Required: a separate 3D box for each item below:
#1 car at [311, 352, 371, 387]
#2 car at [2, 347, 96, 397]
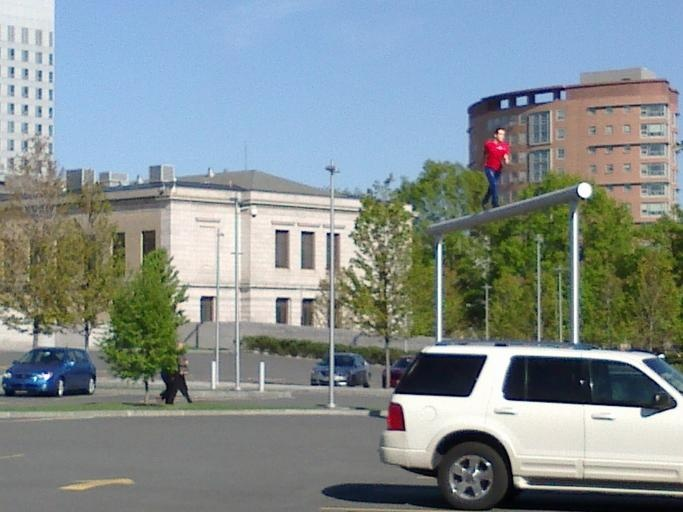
[{"bbox_3d":[0.079,7.585,109.377,2.923,2.536,5.609,0,-1,17],"label":"car"},{"bbox_3d":[-16.373,6.791,96.327,2.518,2.217,4.453,-4,-11,23],"label":"car"}]
